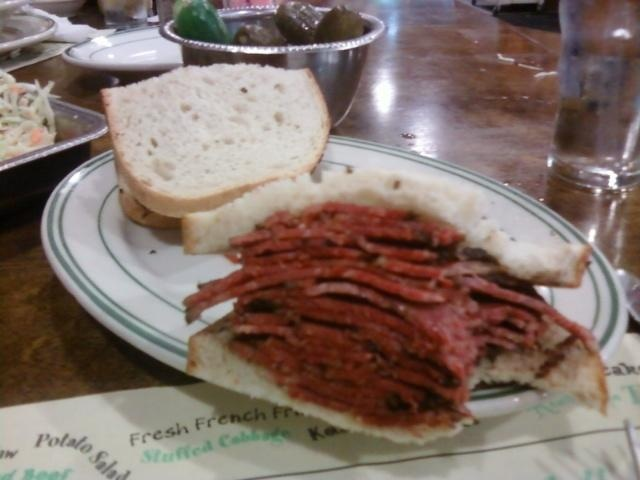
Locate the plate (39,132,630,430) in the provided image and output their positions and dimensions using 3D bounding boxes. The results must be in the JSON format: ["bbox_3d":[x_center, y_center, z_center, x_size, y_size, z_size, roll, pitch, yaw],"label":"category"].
[{"bbox_3d":[-0.058,0.068,0.943,0.749,0.087,0.513,13,37,10],"label":"plate"}]

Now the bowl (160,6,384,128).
[{"bbox_3d":[-0.050,-0.443,1.519,0.461,0.191,0.436,0,31,0],"label":"bowl"}]

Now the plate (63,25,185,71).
[{"bbox_3d":[-0.682,-0.657,2.077,0.395,0.060,0.347,4,31,2],"label":"plate"}]

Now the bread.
[{"bbox_3d":[0.027,0.158,1.070,0.856,0.267,0.582,-6,63,1],"label":"bread"}]
